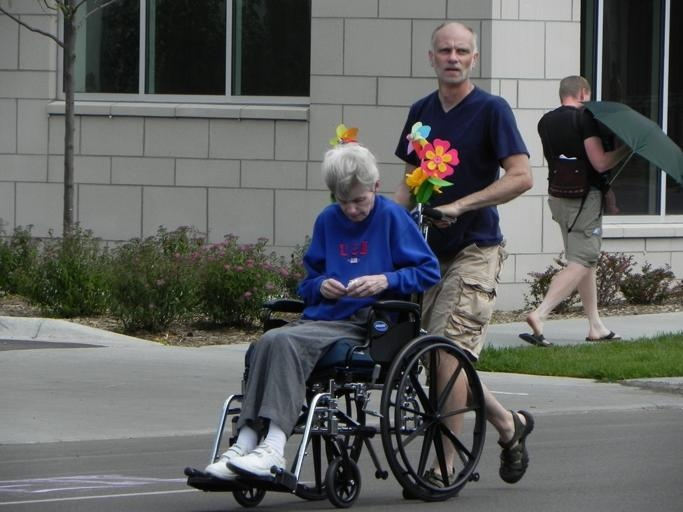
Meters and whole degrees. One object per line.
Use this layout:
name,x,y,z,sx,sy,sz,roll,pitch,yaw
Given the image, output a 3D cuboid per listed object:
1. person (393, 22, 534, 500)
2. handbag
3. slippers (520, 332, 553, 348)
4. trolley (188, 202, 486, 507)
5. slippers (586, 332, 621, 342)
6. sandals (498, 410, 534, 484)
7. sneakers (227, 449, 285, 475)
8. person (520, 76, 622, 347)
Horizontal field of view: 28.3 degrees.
person,1.026,-0.151,10.584,1.070,3.259,1.455,7,12,35
handbag,2.453,-1.102,15.069,0.553,1.119,0.452,-2,-4,-2
slippers,2.100,0.884,14.674,0.359,0.104,0.144,20,-6,-6
trolley,-0.143,0.833,10.347,1.960,2.393,2.038,0,-1,40
slippers,2.918,0.917,15.023,0.355,0.095,0.146,-2,1,0
sandals,1.368,1.497,10.480,0.203,0.624,0.272,7,-2,40
sneakers,-0.581,1.456,9.553,0.328,0.153,0.190,8,-9,-16
person,2.670,-0.484,15.131,0.964,2.994,1.472,2,0,27
